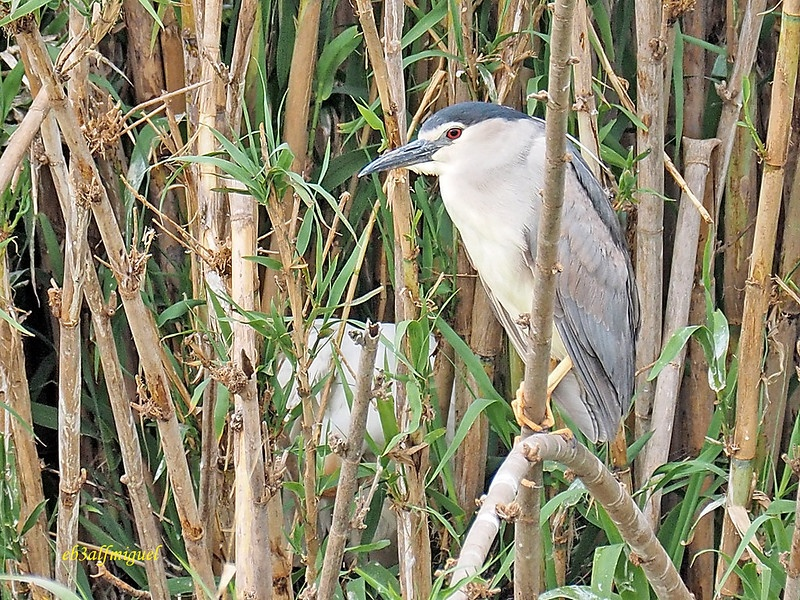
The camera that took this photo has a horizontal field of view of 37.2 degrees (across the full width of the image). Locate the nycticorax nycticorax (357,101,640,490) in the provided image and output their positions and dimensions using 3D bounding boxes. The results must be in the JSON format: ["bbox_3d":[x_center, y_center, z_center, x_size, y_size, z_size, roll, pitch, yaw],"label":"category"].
[{"bbox_3d":[0.271,-0.028,2.348,0.547,0.736,0.346,-28,28,-32],"label":"nycticorax nycticorax"}]
